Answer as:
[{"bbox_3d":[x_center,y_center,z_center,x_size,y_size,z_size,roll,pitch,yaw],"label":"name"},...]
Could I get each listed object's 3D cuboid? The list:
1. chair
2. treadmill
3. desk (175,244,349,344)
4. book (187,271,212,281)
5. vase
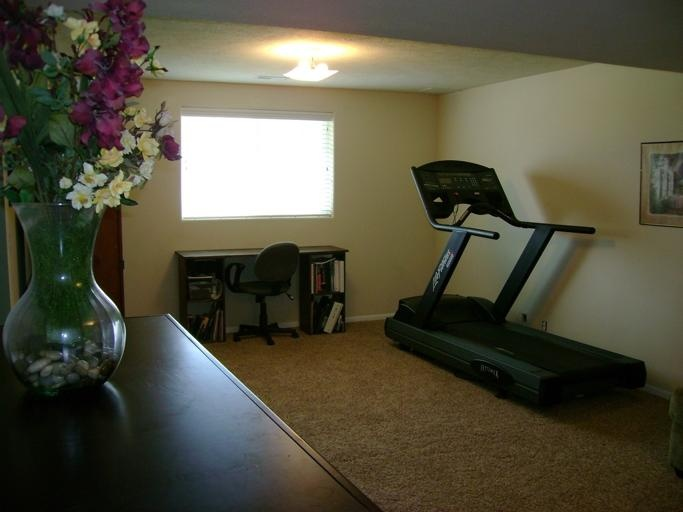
[{"bbox_3d":[-0.820,0.383,5.638,0.728,1.030,0.716,-2,7,-28],"label":"chair"},{"bbox_3d":[1.467,0.038,4.888,2.386,1.848,1.426,0,9,-25],"label":"treadmill"},{"bbox_3d":[-0.922,0.404,5.615,1.807,0.965,0.702,0,8,-27],"label":"desk"},{"bbox_3d":[-1.442,0.206,5.478,0.252,0.058,0.296,-2,9,-15],"label":"book"},{"bbox_3d":[-0.881,0.131,1.660,0.117,0.991,0.289,4,5,43],"label":"vase"}]
